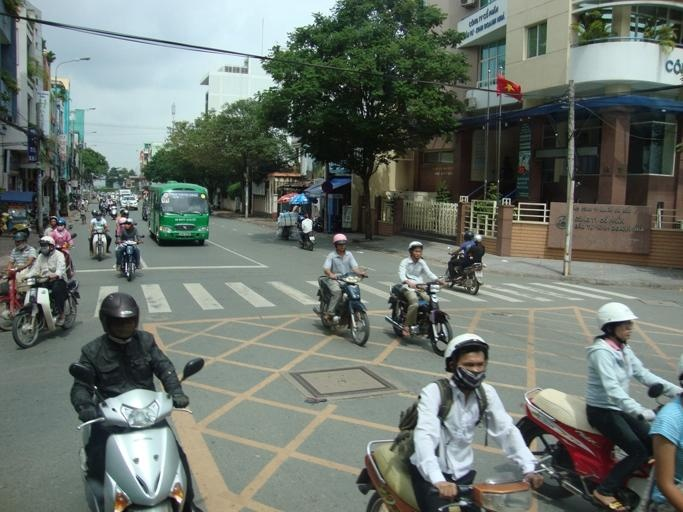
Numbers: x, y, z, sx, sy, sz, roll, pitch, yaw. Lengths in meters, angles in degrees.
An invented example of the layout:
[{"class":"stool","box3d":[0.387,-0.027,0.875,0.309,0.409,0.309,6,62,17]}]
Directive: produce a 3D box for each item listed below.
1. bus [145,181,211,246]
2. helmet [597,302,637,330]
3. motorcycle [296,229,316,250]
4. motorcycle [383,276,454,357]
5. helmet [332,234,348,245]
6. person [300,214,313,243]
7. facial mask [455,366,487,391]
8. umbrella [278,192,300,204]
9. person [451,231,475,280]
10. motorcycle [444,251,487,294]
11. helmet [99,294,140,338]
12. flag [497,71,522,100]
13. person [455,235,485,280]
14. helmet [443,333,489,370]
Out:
[{"class":"bus","box3d":[-7.306,-1.834,29.182,1.733,1.994,4.095,-1,3,-21]},{"class":"helmet","box3d":[2.803,0.573,6.683,0.265,0.275,0.336,-8,12,-41]},{"class":"motorcycle","box3d":[-1.402,-0.615,28.173,0.454,0.585,0.941,-2,13,-17]},{"class":"motorcycle","box3d":[1.362,1.030,11.731,0.806,1.019,1.566,-1,5,-31]},{"class":"helmet","box3d":[-0.008,-0.312,12.331,0.206,0.213,0.251,-6,17,-32]},{"class":"person","box3d":[-1.527,-1.026,28.018,0.329,1.028,0.872,-3,8,-32]},{"class":"facial mask","box3d":[1.103,1.071,5.727,0.187,0.134,0.233,2,0,-5]},{"class":"umbrella","box3d":[-3.891,-4.150,46.482,1.806,0.739,1.802,-2,2,-4]},{"class":"person","box3d":[3.318,-0.173,17.869,0.671,0.781,1.235,1,30,19]},{"class":"motorcycle","box3d":[3.294,0.458,17.768,0.650,0.997,1.703,4,10,-20]},{"class":"helmet","box3d":[-2.148,0.555,6.448,0.346,0.442,0.458,-5,14,-33]},{"class":"flag","box3d":[6.655,-6.764,25.959,0.790,1.049,2.590,2,7,10]},{"class":"person","box3d":[3.535,-0.058,17.851,0.634,0.728,1.252,6,12,2]},{"class":"helmet","box3d":[1.102,0.852,5.836,0.299,0.362,0.294,3,32,2]}]
